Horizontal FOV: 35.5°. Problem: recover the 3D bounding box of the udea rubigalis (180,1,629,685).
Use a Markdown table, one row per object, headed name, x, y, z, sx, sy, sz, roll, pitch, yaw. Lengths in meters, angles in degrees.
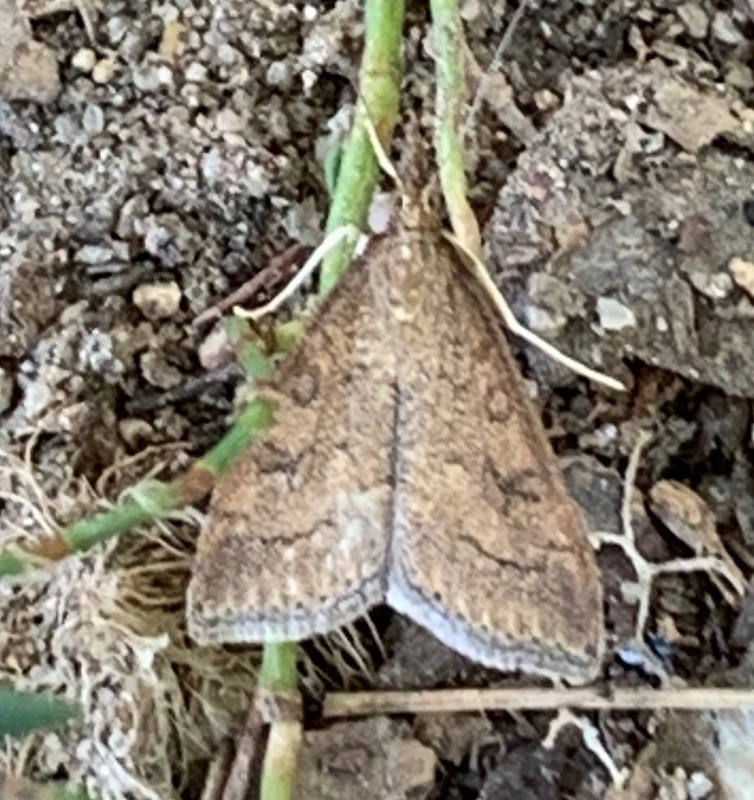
| name | x | y | z | sx | sy | sz | roll | pitch | yaw |
| --- | --- | --- | --- | --- | --- | --- | --- | --- | --- |
| udea rubigalis | 0.022 | 0.023 | 0.713 | 0.251 | 0.097 | 0.281 | 7 | 77 | 7 |
